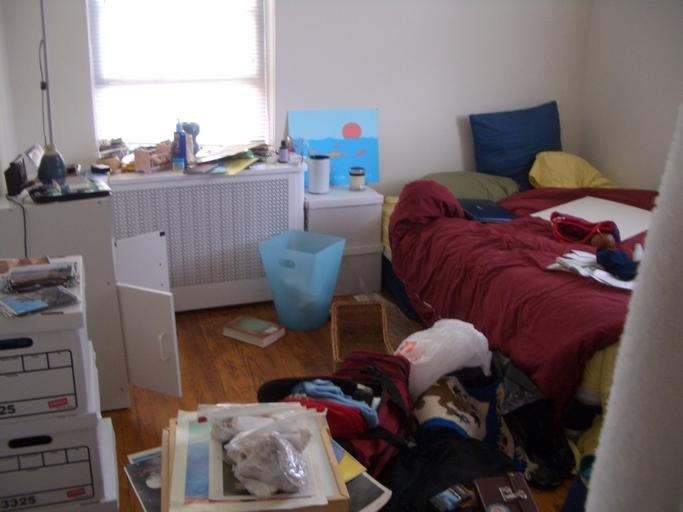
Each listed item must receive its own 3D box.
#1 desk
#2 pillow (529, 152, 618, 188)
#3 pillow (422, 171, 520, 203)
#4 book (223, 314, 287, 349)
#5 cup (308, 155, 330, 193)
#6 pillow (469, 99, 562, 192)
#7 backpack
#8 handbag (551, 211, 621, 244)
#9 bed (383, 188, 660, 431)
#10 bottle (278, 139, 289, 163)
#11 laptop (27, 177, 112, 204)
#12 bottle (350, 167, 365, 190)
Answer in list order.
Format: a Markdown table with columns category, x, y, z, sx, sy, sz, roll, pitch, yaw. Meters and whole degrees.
| category | x | y | z | sx | sy | sz | roll | pitch | yaw |
| --- | --- | --- | --- | --- | --- | --- | --- | --- | --- |
| desk | -0.777 | -0.148 | 3.179 | 1.091 | 0.800 | 0.372 | -3 | 24 | 18 |
| pillow | 1.491 | -0.556 | 3.534 | 0.508 | 0.222 | 0.367 | -4 | 17 | 2 |
| pillow | 0.849 | -0.442 | 3.413 | 0.394 | 0.106 | 0.293 | -6 | 21 | -27 |
| book | -0.454 | 0.380 | 2.870 | 0.278 | 0.083 | 0.212 | 6 | 19 | 30 |
| cup | -0.135 | -0.489 | 3.265 | 0.138 | 0.216 | 0.140 | -4 | 16 | 1 |
| pillow | 1.134 | -0.716 | 3.639 | 0.574 | 0.568 | 0.196 | -11 | 5 | -10 |
| backpack | 0.000 | 0.568 | 1.908 | 0.433 | 0.148 | 0.343 | 15 | 23 | 16 |
| handbag | 1.117 | -0.124 | 2.535 | 0.180 | 0.073 | 0.182 | -4 | 19 | -38 |
| bed | 0.712 | 0.145 | 2.439 | 1.018 | 0.435 | 1.081 | -17 | 37 | -23 |
| bottle | -0.333 | -0.600 | 3.132 | 0.067 | 0.122 | 0.101 | -6 | 16 | -6 |
| laptop | -1.022 | -0.253 | 2.051 | 0.262 | 0.056 | 0.318 | -12 | 19 | -26 |
| bottle | 0.091 | -0.470 | 3.326 | 0.103 | 0.134 | 0.128 | 0 | 14 | -1 |
